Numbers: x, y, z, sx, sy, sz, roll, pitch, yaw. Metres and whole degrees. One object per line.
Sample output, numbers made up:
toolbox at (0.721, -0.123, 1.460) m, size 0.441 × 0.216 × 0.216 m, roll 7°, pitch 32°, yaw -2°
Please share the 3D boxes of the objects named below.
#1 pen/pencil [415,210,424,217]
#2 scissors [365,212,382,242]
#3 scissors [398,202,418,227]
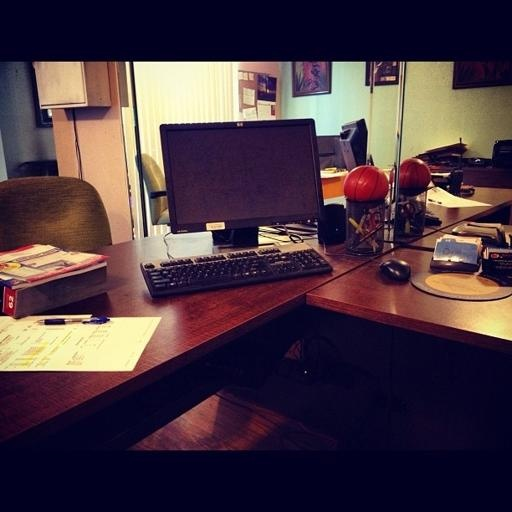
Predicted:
pen/pencil at (0.541, -0.141, 1.504) m, size 0.020 × 0.021 × 0.006 m, roll -53°, pitch 8°, yaw -10°
scissors at (0.337, -0.087, 1.276) m, size 0.063 × 0.046 × 0.019 m, roll -36°, pitch -20°, yaw 20°
scissors at (0.494, -0.134, 1.487) m, size 0.047 × 0.081 × 0.017 m, roll -1°, pitch 2°, yaw -18°
